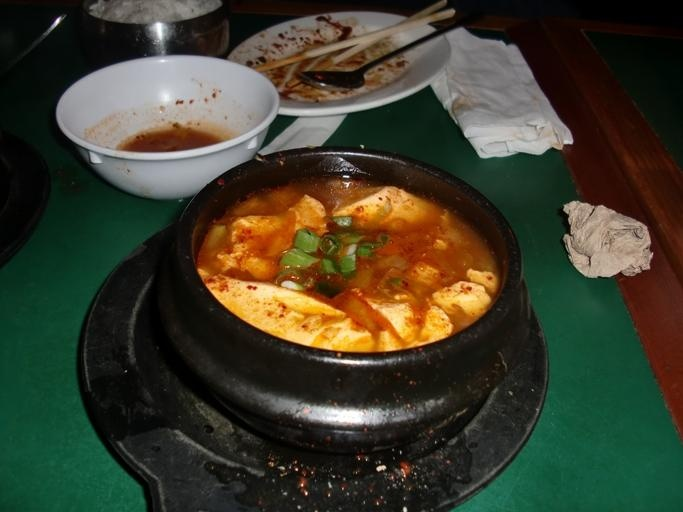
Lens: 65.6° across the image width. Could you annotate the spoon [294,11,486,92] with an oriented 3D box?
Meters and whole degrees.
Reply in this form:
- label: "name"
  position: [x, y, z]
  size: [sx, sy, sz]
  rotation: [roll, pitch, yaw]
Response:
- label: "spoon"
  position: [0.208, -0.905, 2.375]
  size: [0.854, 0.100, 0.150]
  rotation: [-29, 51, -8]
